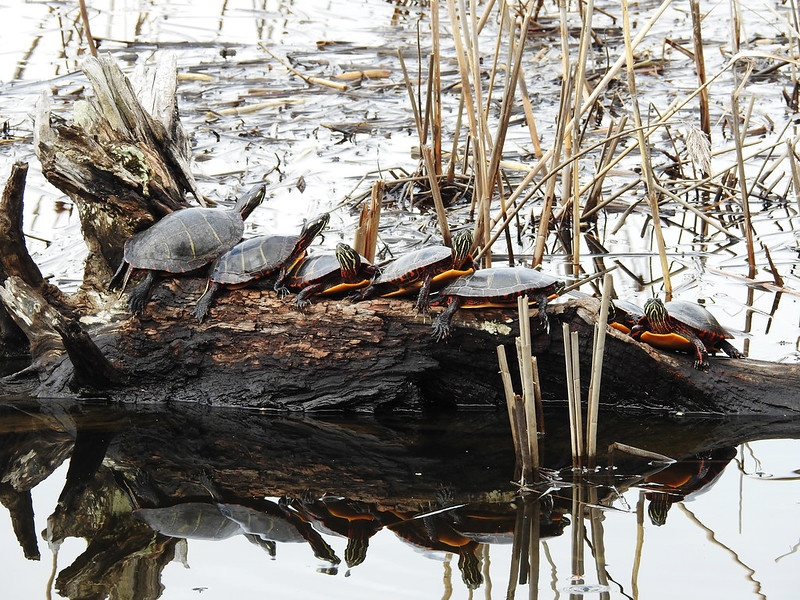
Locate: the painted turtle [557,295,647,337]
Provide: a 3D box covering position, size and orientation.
[{"bbox_3d":[1.876,0.079,9.685,0.698,0.186,0.736,2,16,12],"label":"painted turtle"}]

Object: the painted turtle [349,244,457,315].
[{"bbox_3d":[0.122,-0.213,9.676,1.136,0.271,0.727,-11,-9,19],"label":"painted turtle"}]
